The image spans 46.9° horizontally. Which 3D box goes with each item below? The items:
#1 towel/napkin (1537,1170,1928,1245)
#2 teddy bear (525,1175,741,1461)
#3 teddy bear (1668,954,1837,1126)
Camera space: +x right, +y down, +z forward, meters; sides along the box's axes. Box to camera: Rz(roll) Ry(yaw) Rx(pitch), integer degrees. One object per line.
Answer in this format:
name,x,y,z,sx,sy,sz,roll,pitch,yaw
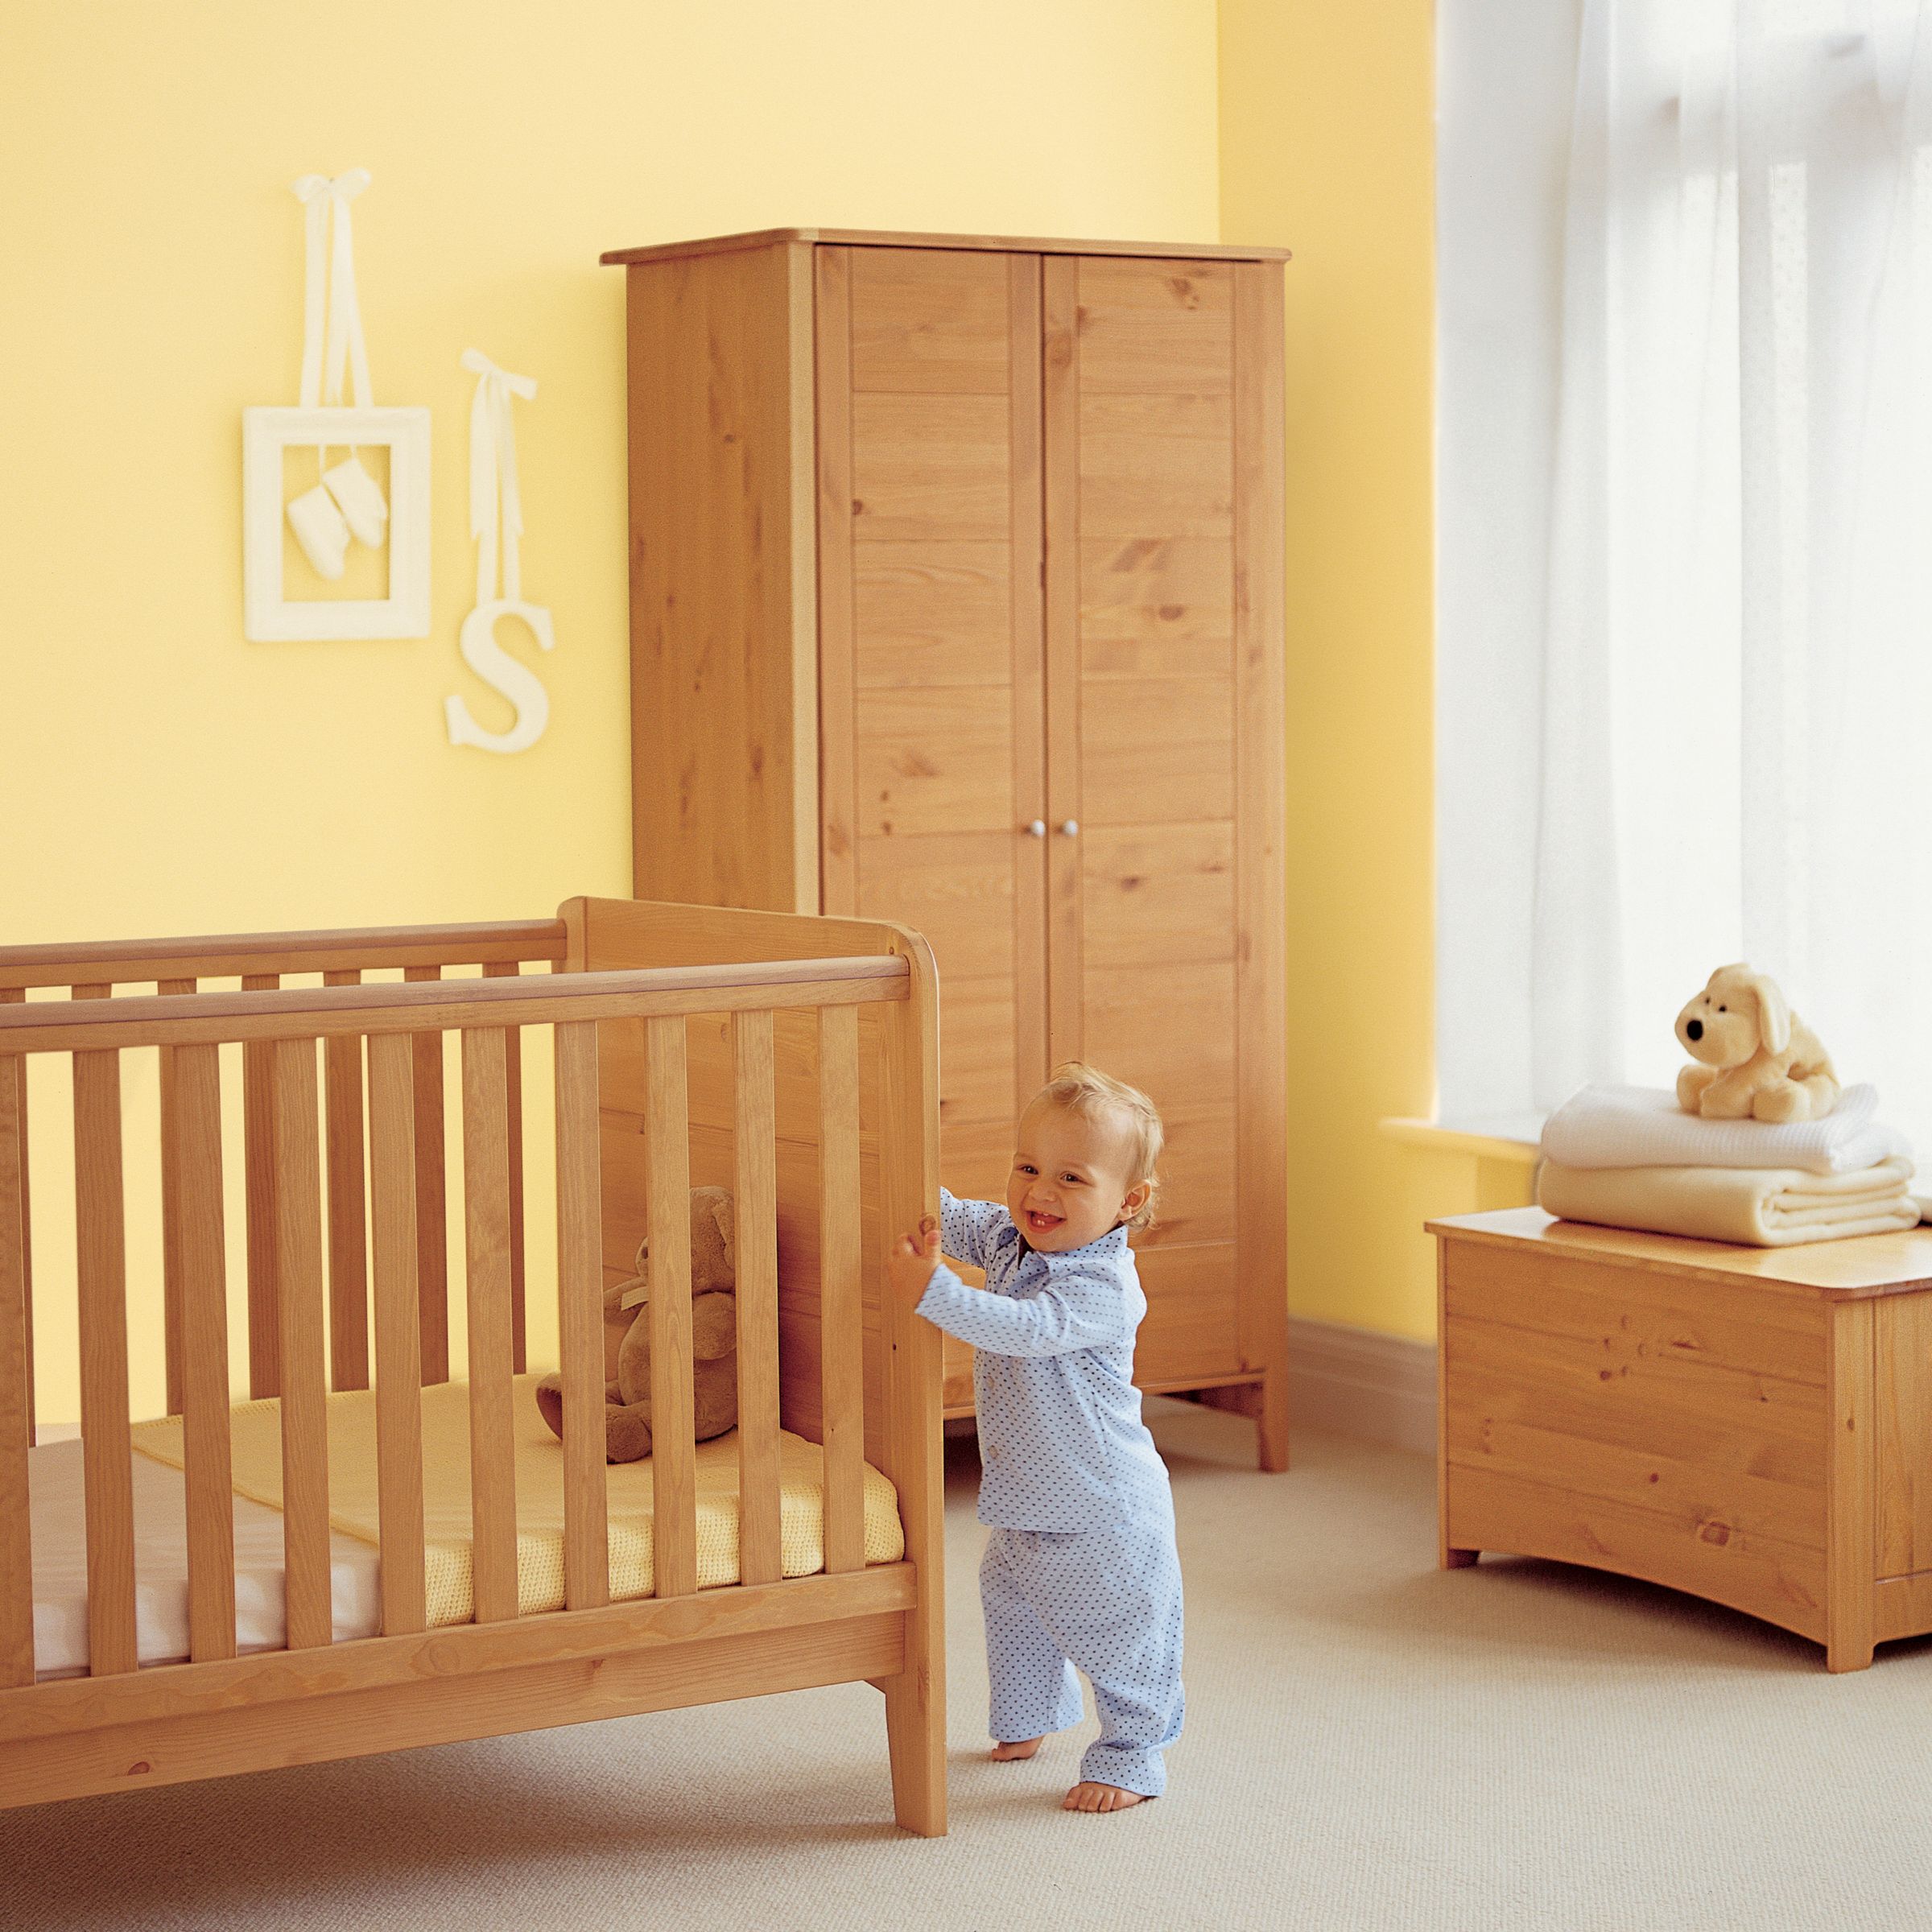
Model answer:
towel/napkin,0.872,0.276,2.605,0.185,0.049,0.176,-2,4,-34
teddy bear,-0.296,0.347,2.170,0.270,0.288,0.227,4,-3,-8
teddy bear,0.943,0.101,2.626,0.220,0.164,0.191,5,0,-10
